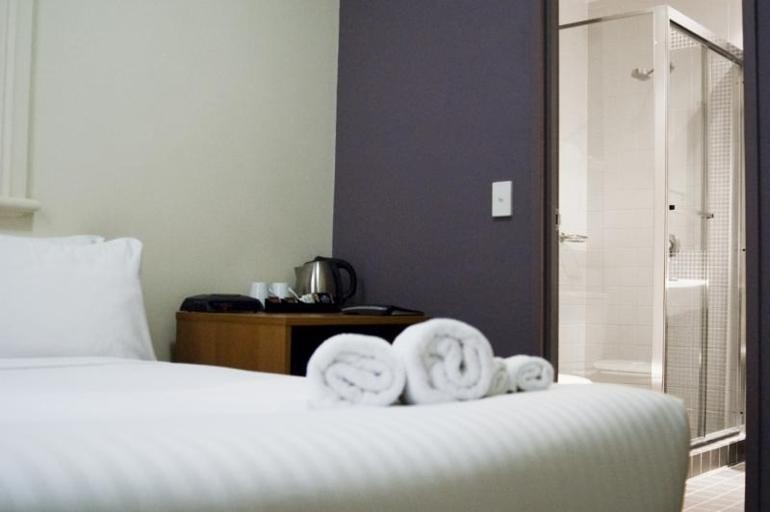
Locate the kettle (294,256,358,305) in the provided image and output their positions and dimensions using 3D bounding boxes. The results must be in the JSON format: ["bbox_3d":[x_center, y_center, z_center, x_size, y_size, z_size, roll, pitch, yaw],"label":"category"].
[{"bbox_3d":[-0.315,0.133,3.529,0.299,0.296,0.237,2,-3,6],"label":"kettle"}]
